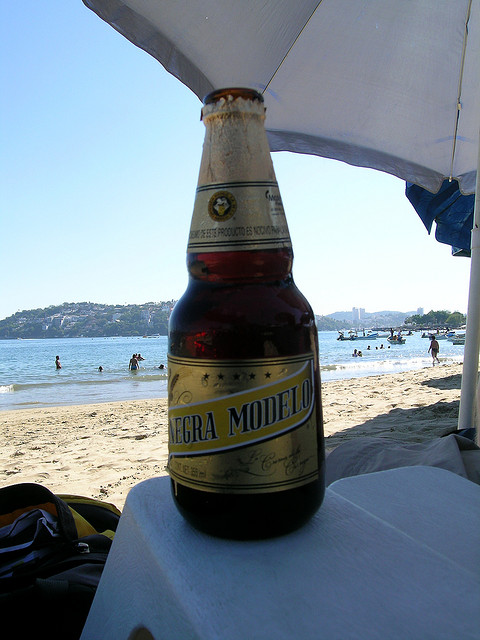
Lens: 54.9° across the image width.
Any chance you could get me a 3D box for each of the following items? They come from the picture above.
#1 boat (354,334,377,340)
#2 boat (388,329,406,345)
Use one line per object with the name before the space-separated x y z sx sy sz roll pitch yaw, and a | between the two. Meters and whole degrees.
boat | 21.147 3.082 77.794 3.528 0.485 6.596 -8 -11 14
boat | 22.024 2.413 64.339 2.106 2.361 6.620 -1 -4 7
